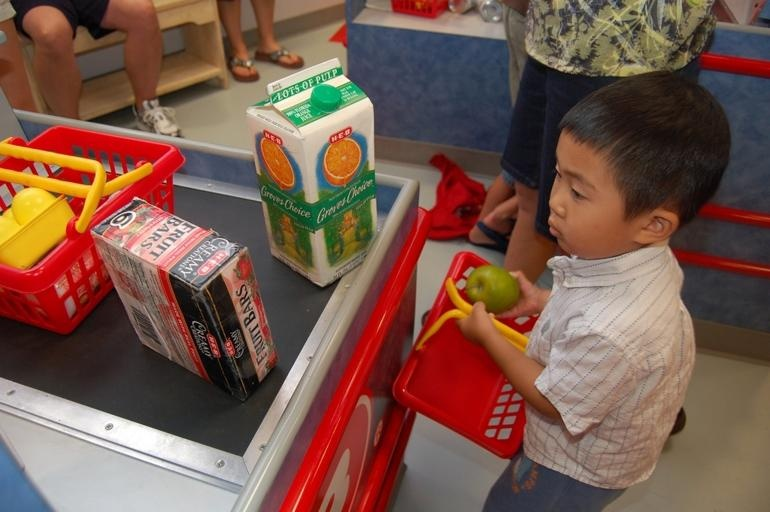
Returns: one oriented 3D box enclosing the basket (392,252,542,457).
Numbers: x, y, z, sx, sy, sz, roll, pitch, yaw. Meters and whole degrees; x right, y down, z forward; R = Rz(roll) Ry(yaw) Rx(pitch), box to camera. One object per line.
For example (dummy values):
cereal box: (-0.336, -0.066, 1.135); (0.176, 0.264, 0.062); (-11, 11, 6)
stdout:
basket: (0.238, 0.303, 1.753); (0.430, 0.178, 0.586); (28, 59, -3)

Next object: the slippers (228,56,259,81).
slippers: (-1.032, -1.345, 3.967); (0.240, 0.126, 0.180); (0, 42, 1)

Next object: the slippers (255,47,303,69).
slippers: (-0.796, -1.469, 4.139); (0.348, 0.092, 0.170); (21, 50, 21)

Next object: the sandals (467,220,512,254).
sandals: (0.489, -0.103, 2.606); (0.252, 0.099, 0.090); (16, 38, 19)
